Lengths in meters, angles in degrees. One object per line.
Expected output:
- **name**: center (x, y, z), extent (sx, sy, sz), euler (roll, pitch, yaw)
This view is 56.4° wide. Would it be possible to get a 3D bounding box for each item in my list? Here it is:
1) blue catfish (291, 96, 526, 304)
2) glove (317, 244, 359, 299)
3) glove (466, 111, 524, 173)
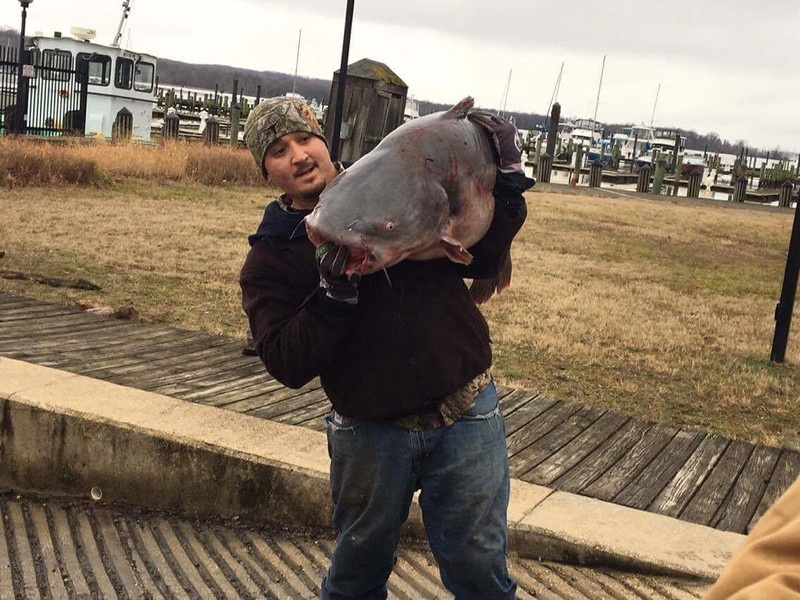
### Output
- **blue catfish**: center (0.076, -0.397, 2.531), extent (0.774, 0.593, 0.387), euler (2, 13, -8)
- **glove**: center (-0.187, -0.110, 2.537), extent (0.125, 0.189, 0.065), euler (-6, 30, 39)
- **glove**: center (0.366, -0.578, 2.692), extent (0.241, 0.119, 0.174), euler (49, 23, -14)
